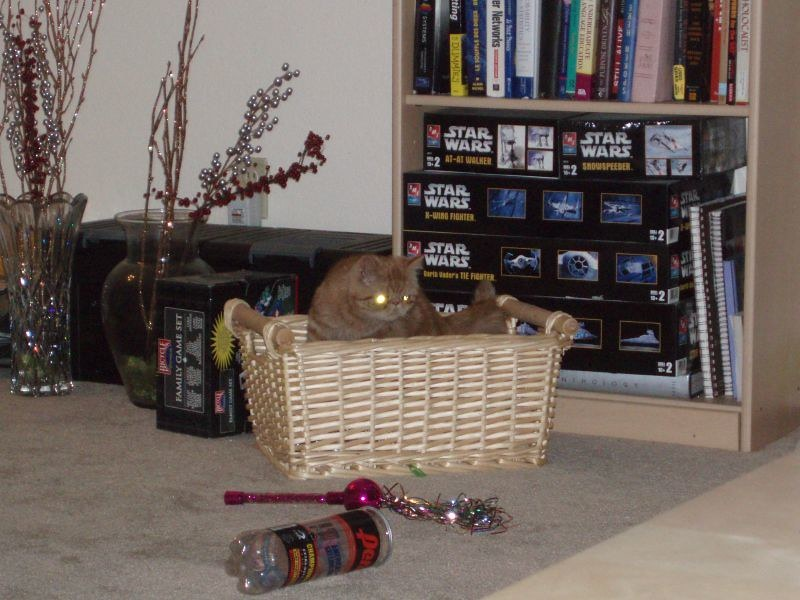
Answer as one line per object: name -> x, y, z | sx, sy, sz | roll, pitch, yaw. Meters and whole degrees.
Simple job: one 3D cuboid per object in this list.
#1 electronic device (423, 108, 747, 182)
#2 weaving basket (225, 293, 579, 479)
electronic device -> 0.299, -0.295, 1.775 | 0.535, 0.122, 0.022 | 4, 9, 21
weaving basket -> -0.004, 0.139, 1.565 | 0.416, 0.209, 0.306 | 2, -2, -17
